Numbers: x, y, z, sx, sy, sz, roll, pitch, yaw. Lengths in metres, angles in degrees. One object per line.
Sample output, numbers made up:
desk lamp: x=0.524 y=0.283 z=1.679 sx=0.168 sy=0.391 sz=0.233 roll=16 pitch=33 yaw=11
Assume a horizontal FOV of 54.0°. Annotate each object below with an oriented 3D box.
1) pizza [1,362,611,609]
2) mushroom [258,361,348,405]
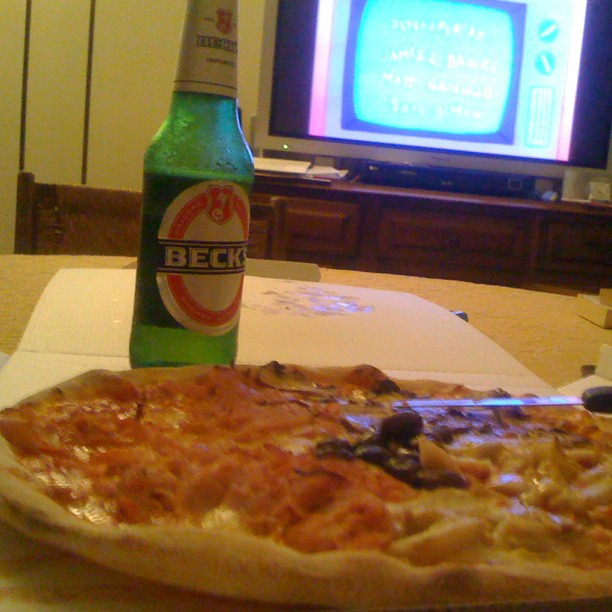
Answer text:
pizza: x=0.013 y=0.065 z=0.269 sx=0.280 sy=0.060 sz=0.161 roll=3 pitch=6 yaw=5
mushroom: x=0.000 y=0.042 z=0.326 sx=0.047 sy=0.016 sz=0.056 roll=0 pitch=7 yaw=-23
